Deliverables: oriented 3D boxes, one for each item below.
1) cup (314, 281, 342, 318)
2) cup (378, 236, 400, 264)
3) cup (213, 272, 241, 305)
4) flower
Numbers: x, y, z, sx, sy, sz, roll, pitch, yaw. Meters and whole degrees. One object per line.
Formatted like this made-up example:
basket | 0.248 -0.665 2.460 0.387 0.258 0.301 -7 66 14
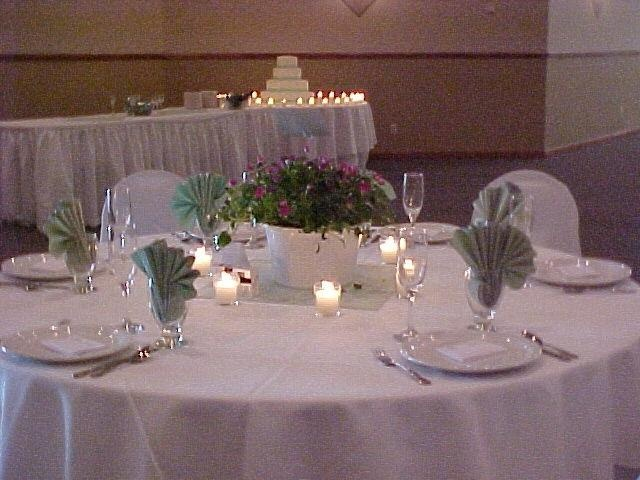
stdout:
cup | 0.020 0.154 1.580 0.070 0.113 0.079 1 8 9
cup | 0.231 0.021 1.987 0.068 0.144 0.075 -1 31 1
cup | -0.255 0.135 1.621 0.073 0.095 0.078 0 8 0
flower | -0.033 -0.108 1.799 0.386 0.311 0.458 1 -6 -40
